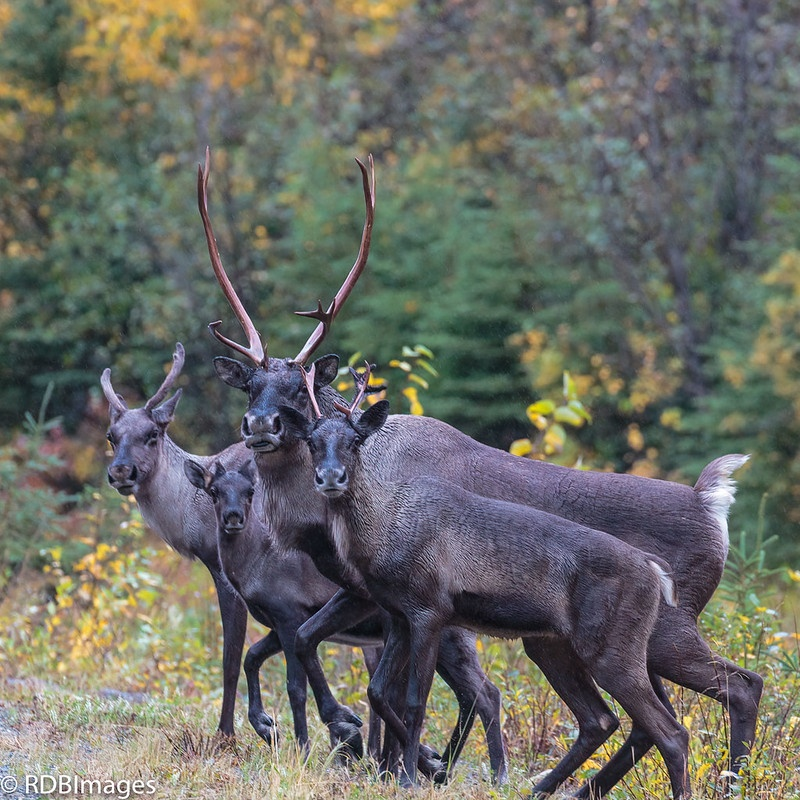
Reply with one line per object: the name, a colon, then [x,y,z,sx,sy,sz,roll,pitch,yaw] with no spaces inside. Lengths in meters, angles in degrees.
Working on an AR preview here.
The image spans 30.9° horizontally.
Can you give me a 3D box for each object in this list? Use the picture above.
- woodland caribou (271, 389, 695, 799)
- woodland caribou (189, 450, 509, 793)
woodland caribou: [0.435,1.110,7.664,2.232,1.944,0.575,13,16,11]
woodland caribou: [-0.391,1.263,8.622,2.069,1.629,0.595,5,-9,-4]
